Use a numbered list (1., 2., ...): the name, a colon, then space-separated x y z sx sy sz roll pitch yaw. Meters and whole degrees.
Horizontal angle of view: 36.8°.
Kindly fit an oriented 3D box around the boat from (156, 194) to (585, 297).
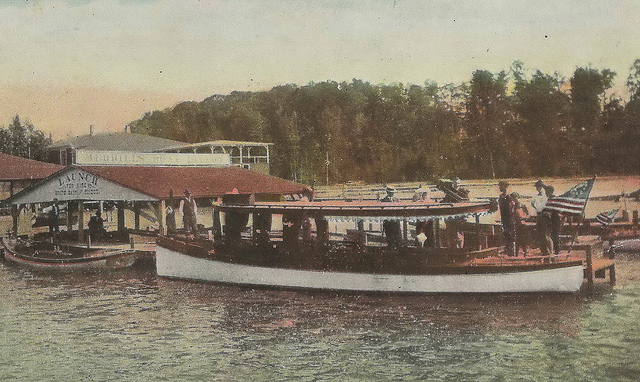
1. boat: 2.518 3.780 70.861 32.352 5.588 6.722 0 4 23

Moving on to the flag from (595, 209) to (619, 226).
1. flag: 21.128 1.867 71.052 1.425 1.210 2.019 -1 -3 16
